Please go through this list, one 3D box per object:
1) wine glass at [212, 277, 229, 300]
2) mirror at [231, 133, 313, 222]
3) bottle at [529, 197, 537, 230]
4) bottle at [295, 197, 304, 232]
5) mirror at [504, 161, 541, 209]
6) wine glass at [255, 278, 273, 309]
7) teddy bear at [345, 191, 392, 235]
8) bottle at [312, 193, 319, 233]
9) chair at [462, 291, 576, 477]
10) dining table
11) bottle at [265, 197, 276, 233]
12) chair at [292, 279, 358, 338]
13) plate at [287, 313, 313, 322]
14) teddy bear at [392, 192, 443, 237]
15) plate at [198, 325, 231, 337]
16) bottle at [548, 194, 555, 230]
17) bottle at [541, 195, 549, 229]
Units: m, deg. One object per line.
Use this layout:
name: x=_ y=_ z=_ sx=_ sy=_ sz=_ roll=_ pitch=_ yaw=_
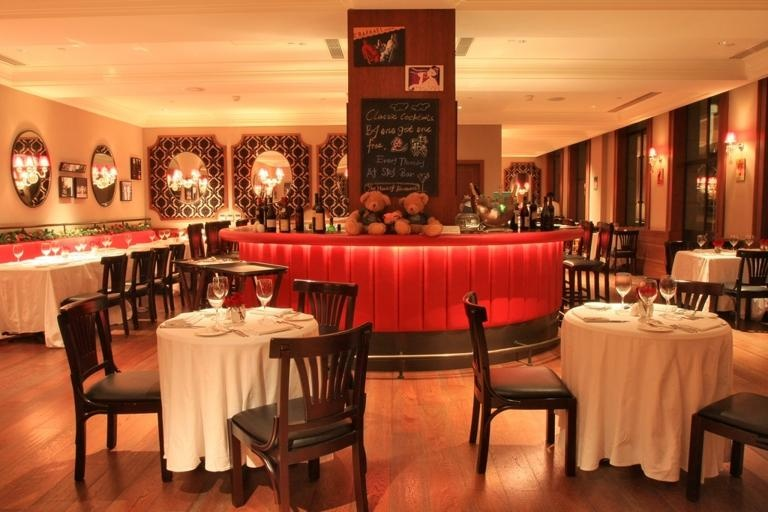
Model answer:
wine glass: x=-1.453 y=0.278 z=4.885 sx=0.125 sy=0.215 sz=0.285 roll=-4 pitch=7 yaw=-19
mirror: x=-2.544 y=-1.946 z=12.740 sx=2.584 sy=2.847 sz=0.142 roll=0 pitch=3 yaw=-5
bottle: x=2.004 y=-0.568 z=7.298 sx=0.107 sy=0.424 sz=0.233 roll=3 pitch=8 yaw=34
bottle: x=-1.083 y=-0.478 z=7.071 sx=0.099 sy=0.319 sz=0.368 roll=-3 pitch=6 yaw=-12
mirror: x=5.216 y=-2.889 z=20.593 sx=1.374 sy=1.345 sz=0.880 roll=0 pitch=7 yaw=13
wine glass: x=-1.086 y=0.336 z=5.067 sx=0.139 sy=0.298 sz=0.276 roll=-2 pitch=6 yaw=-6
teddy bear: x=-0.151 y=-0.491 z=6.728 sx=0.611 sy=0.642 sz=0.510 roll=7 pitch=5 yaw=-4
bottle: x=-0.828 y=-0.536 z=6.819 sx=0.090 sy=0.478 sz=0.351 roll=-2 pitch=7 yaw=-7
chair: x=1.448 y=1.100 z=5.645 sx=1.305 sy=2.081 sz=1.411 roll=-2 pitch=3 yaw=2
dining table: x=2.326 y=1.038 z=4.853 sx=1.317 sy=1.347 sz=1.325 roll=-1 pitch=3 yaw=-18
bottle: x=-1.468 y=-0.493 z=7.137 sx=0.130 sy=0.341 sz=0.404 roll=-3 pitch=6 yaw=-12
chair: x=-0.527 y=0.479 z=5.501 sx=0.566 sy=0.925 sz=0.628 roll=0 pitch=0 yaw=11
plate: x=-0.747 y=0.554 z=4.967 sx=0.230 sy=0.040 sz=0.218 roll=2 pitch=7 yaw=29
teddy bear: x=0.403 y=-0.516 z=6.652 sx=0.541 sy=0.519 sz=0.642 roll=-1 pitch=6 yaw=1
plate: x=-1.424 y=0.637 z=4.602 sx=0.278 sy=0.049 sz=0.178 roll=-3 pitch=6 yaw=-14
bottle: x=2.193 y=-0.583 z=7.199 sx=0.064 sy=0.468 sz=0.411 roll=1 pitch=7 yaw=18
bottle: x=2.124 y=-0.574 z=7.183 sx=0.112 sy=0.443 sz=0.237 roll=0 pitch=7 yaw=16
